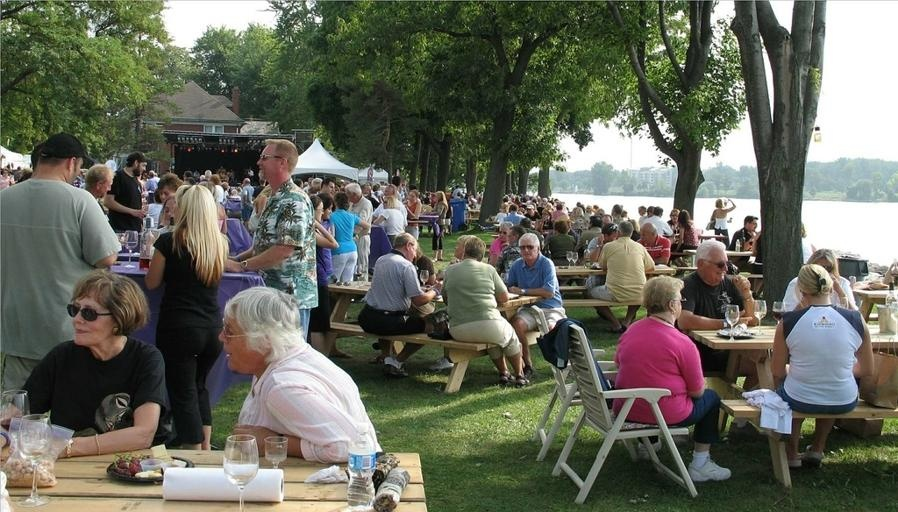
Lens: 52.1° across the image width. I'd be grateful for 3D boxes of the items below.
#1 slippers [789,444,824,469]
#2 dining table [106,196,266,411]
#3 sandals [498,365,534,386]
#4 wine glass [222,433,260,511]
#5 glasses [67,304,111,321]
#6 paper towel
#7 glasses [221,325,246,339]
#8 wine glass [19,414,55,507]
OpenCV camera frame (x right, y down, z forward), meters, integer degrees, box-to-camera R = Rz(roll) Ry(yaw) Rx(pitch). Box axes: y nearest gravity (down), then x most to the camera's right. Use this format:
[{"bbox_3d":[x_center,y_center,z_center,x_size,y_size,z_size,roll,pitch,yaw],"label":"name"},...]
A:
[{"bbox_3d":[4.398,2.483,11.275,0.204,0.247,0.563,2,-7,-8],"label":"slippers"},{"bbox_3d":[-3.064,0.564,12.553,2.721,1.274,2.620,3,6,9],"label":"dining table"},{"bbox_3d":[0.999,1.805,13.763,0.201,0.224,0.573,0,1,23],"label":"sandals"},{"bbox_3d":[-1.964,2.030,8.640,0.316,0.704,0.179,0,3,-9],"label":"wine glass"},{"bbox_3d":[-3.670,0.571,9.354,0.443,0.165,0.097,1,3,14],"label":"glasses"},{"bbox_3d":[-2.157,2.130,8.821,1.341,0.376,0.384,2,17,3],"label":"paper towel"},{"bbox_3d":[-2.158,0.759,9.173,0.197,0.056,0.179,8,-2,-18],"label":"glasses"},{"bbox_3d":[-3.907,1.921,8.676,0.279,0.826,0.250,-1,3,-20],"label":"wine glass"}]
